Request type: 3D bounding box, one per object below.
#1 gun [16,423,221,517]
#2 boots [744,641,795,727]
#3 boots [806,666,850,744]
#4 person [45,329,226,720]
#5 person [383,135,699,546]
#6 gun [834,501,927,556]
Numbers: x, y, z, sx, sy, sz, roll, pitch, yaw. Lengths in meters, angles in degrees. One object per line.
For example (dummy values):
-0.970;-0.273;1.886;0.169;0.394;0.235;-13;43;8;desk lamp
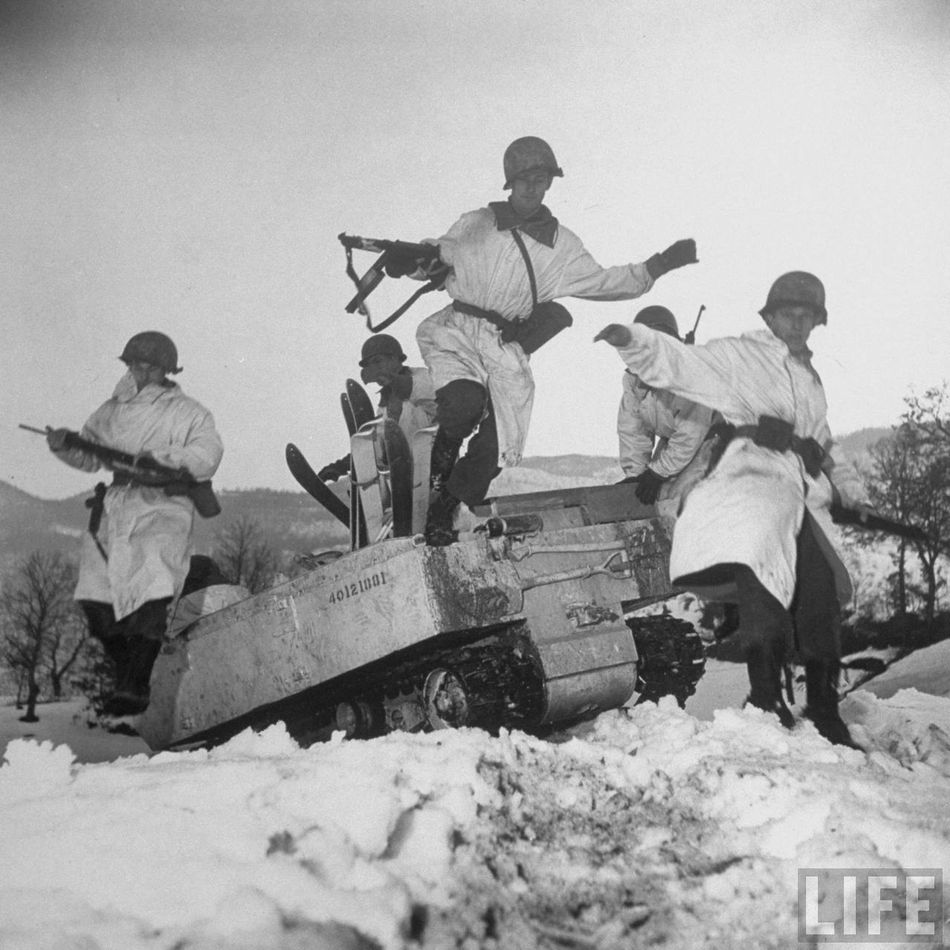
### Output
-1.758;-0.028;5.909;1.011;0.355;0.054;24;4;1;gun
1.345;0.987;5.152;0.202;0.372;0.308;-5;-11;15;boots
1.680;1.110;5.400;0.198;0.396;0.241;-4;-10;6;boots
-1.769;0.240;5.969;0.865;2.089;0.478;0;-10;-15;person
0.246;-0.461;5.854;1.309;1.968;0.664;20;-31;-21;person
2.440;0.353;6.804;0.454;0.138;0.118;23;-56;-11;gun
